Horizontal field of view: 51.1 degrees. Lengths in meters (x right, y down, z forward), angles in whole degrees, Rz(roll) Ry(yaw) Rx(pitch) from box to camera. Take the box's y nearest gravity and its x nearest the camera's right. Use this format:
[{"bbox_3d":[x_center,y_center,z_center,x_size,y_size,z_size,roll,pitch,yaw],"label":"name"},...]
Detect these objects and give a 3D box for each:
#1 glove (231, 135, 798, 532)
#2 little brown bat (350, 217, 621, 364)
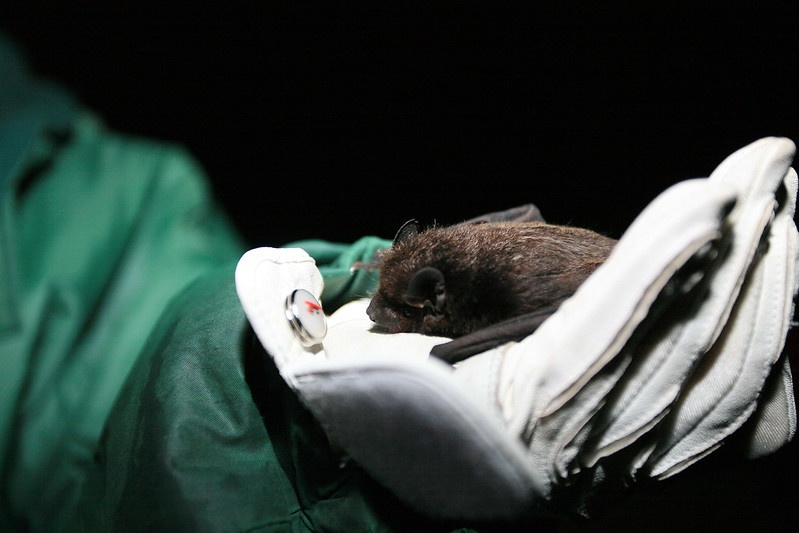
[{"bbox_3d":[0.309,0.156,1.882,1.246,0.735,0.533,-9,34,-6],"label":"glove"},{"bbox_3d":[0.196,0.029,2.024,0.459,0.173,0.334,-20,24,-3],"label":"little brown bat"}]
